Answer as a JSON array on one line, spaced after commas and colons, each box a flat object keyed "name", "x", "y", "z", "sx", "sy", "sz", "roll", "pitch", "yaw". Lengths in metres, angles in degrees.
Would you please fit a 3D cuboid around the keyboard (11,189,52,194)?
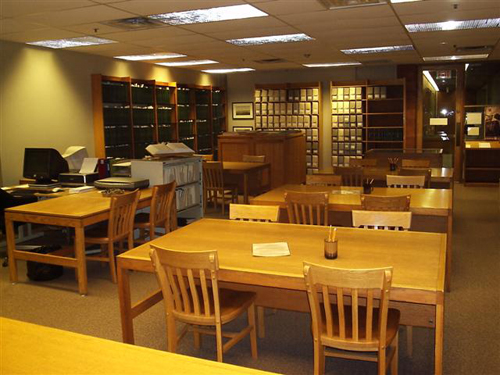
[{"name": "keyboard", "x": -3.287, "y": 0.060, "z": 5.799, "sx": 0.259, "sy": 0.052, "sz": 0.253, "roll": 0, "pitch": 2, "yaw": -4}]

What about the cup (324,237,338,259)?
[{"name": "cup", "x": 0.543, "y": 0.422, "z": 2.688, "sx": 0.137, "sy": 0.119, "sz": 0.124, "roll": 2, "pitch": 14, "yaw": 9}]

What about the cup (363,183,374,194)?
[{"name": "cup", "x": 1.397, "y": 0.027, "z": 4.622, "sx": 0.153, "sy": 0.119, "sz": 0.086, "roll": -2, "pitch": 8, "yaw": -8}]

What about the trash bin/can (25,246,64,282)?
[{"name": "trash bin/can", "x": -2.546, "y": 0.967, "z": 4.998, "sx": 0.486, "sy": 0.341, "sz": 0.436, "roll": 1, "pitch": 1, "yaw": -1}]

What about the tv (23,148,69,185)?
[{"name": "tv", "x": -3.274, "y": -0.296, "z": 6.012, "sx": 0.647, "sy": 0.535, "sz": 0.595, "roll": 0, "pitch": -4, "yaw": 10}]

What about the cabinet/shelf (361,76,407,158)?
[{"name": "cabinet/shelf", "x": 3.848, "y": -1.983, "z": 11.324, "sx": 1.225, "sy": 2.040, "sz": 0.591, "roll": 2, "pitch": 9, "yaw": 15}]
